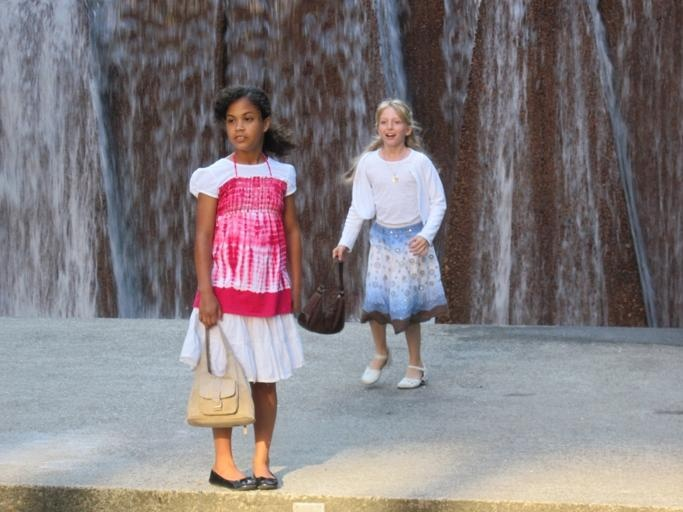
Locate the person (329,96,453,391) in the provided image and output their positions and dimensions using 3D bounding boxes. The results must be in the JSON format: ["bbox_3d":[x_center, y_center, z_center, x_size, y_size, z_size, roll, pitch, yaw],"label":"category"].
[{"bbox_3d":[0.416,-0.102,10.844,0.881,2.292,0.795,1,12,4],"label":"person"}]

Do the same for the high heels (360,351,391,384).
[{"bbox_3d":[0.265,0.909,10.872,0.122,0.150,0.370,5,32,32],"label":"high heels"}]

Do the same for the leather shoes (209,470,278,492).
[{"bbox_3d":[-0.655,1.543,8.984,0.274,0.090,0.183,-4,-6,19],"label":"leather shoes"}]
